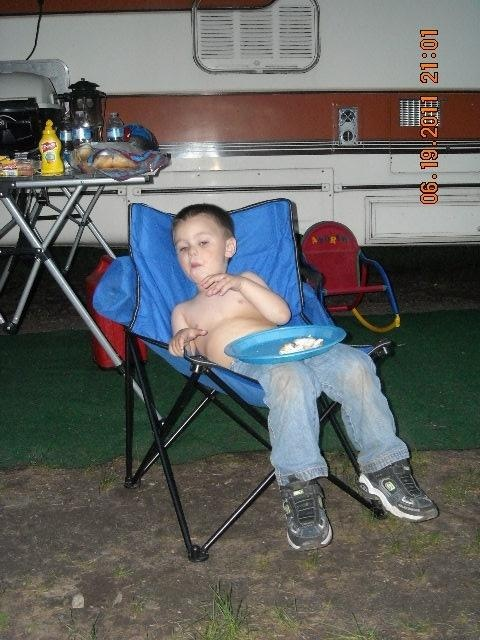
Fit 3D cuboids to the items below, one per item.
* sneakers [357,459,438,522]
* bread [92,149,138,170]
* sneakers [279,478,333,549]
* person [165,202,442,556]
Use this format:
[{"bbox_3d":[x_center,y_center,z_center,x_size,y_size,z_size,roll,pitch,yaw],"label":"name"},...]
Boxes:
[{"bbox_3d":[0.461,0.494,1.776,0.112,0.134,0.306,-2,6,-28],"label":"sneakers"},{"bbox_3d":[-0.543,-0.694,2.539,0.189,0.079,0.072,-4,15,-11],"label":"bread"},{"bbox_3d":[0.179,0.533,1.604,0.124,0.194,0.180,-2,14,0],"label":"sneakers"},{"bbox_3d":[0.099,0.111,1.855,0.620,0.903,0.897,-7,15,-20],"label":"person"}]
